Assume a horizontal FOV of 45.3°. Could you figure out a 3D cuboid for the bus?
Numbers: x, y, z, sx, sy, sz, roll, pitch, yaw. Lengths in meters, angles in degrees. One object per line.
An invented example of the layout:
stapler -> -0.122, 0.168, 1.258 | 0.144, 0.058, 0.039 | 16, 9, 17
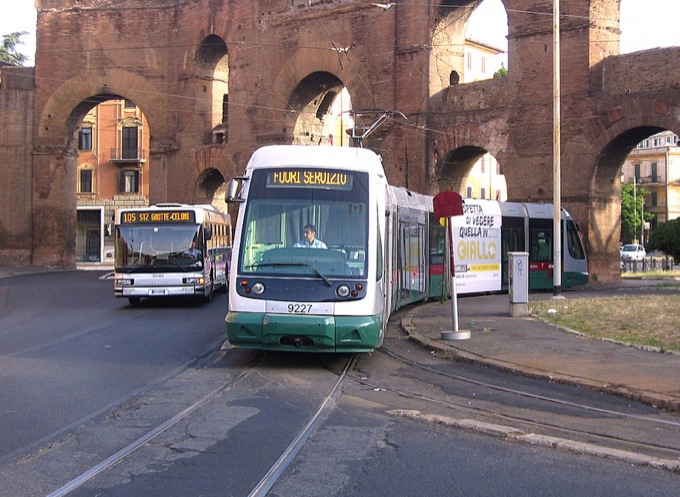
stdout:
bus -> -4.663, 0.150, 23.993 | 2.401, 3.103, 4.790 | 1, 10, 5
